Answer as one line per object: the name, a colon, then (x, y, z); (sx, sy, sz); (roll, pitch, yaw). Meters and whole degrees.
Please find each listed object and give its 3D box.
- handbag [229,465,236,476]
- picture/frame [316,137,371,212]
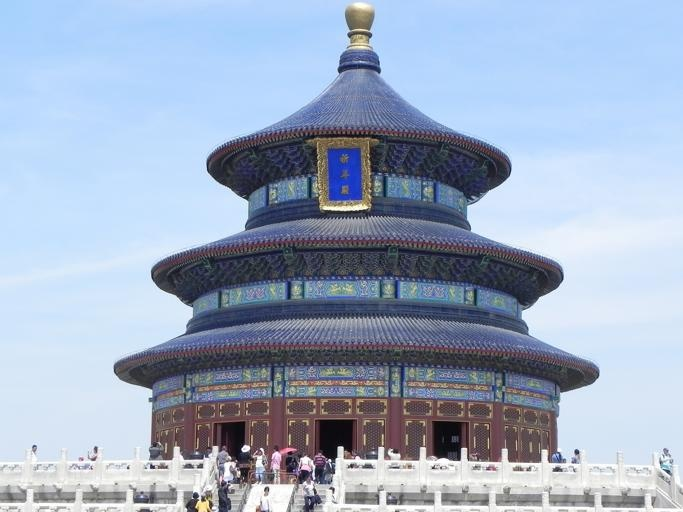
handbag: (-3.971, 8.072, 57.265); (0.306, 0.372, 0.146); (-5, 4, 18)
picture/frame: (0.175, -3.818, 69.907); (3.819, 3.942, 0.601); (0, -5, 2)
